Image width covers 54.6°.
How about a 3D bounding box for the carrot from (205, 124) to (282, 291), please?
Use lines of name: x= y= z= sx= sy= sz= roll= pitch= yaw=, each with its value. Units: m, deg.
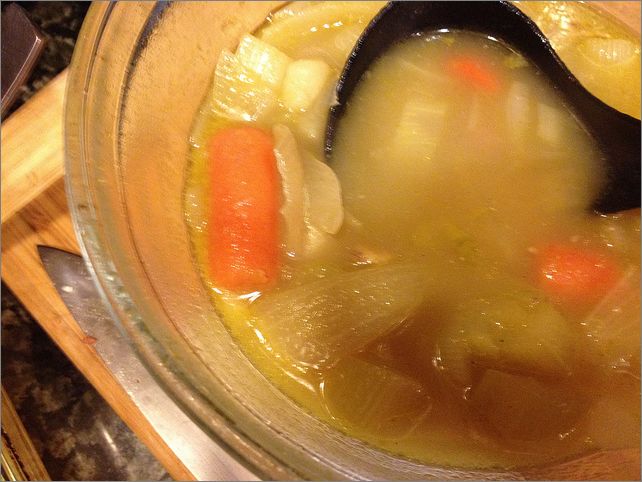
carrot: x=-0.153 y=-0.054 z=1.193 sx=0.135 sy=0.087 sz=0.301 roll=-1 pitch=79 yaw=-3
